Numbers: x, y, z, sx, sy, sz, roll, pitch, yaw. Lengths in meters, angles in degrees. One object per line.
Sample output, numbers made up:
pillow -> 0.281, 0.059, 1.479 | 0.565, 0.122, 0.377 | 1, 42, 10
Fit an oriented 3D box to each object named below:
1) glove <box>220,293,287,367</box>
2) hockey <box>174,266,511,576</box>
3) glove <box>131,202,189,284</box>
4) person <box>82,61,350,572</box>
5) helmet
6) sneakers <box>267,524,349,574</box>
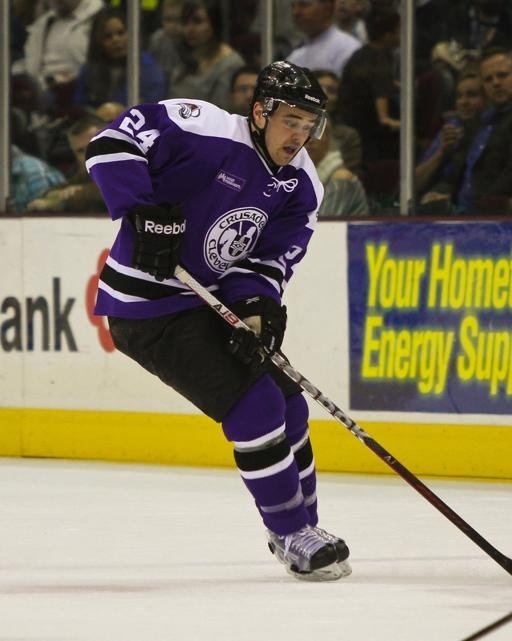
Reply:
glove -> 0.008, 0.026, 2.258 | 0.065, 0.168, 0.165 | -43, 6, 45
hockey -> 0.331, 0.321, 2.941 | 1.282, 0.064, 0.063 | 35, 2, -3
glove -> -0.224, -0.178, 2.134 | 0.116, 0.167, 0.078 | -1, 1, -6
person -> -0.080, 0.003, 2.298 | 0.644, 1.275, 0.376 | -1, 1, -4
helmet -> 0.070, -0.506, 2.249 | 0.190, 0.254, 0.100 | -1, 1, 16
sneakers -> 0.121, 0.566, 2.305 | 0.106, 0.078, 0.193 | -4, -2, -33
